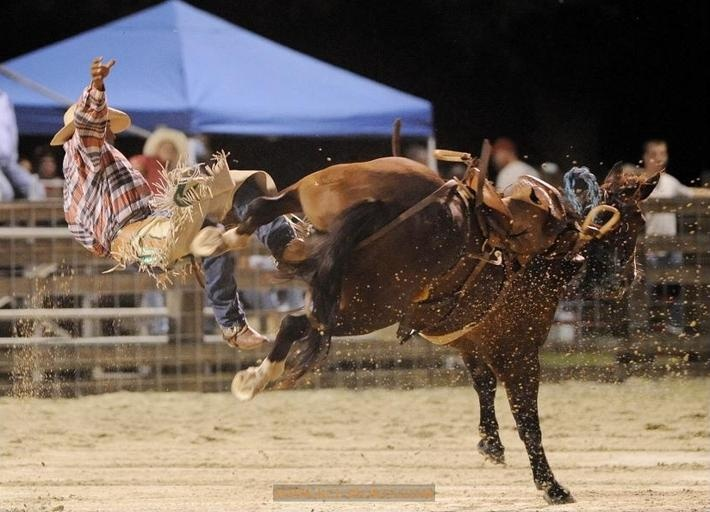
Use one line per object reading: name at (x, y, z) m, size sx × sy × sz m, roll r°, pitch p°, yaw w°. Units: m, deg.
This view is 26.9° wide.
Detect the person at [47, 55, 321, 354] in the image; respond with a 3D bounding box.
person at (-0.731, -0.275, 6.832) m, size 1.260 × 1.423 × 0.925 m, roll -15°, pitch 10°, yaw -2°
